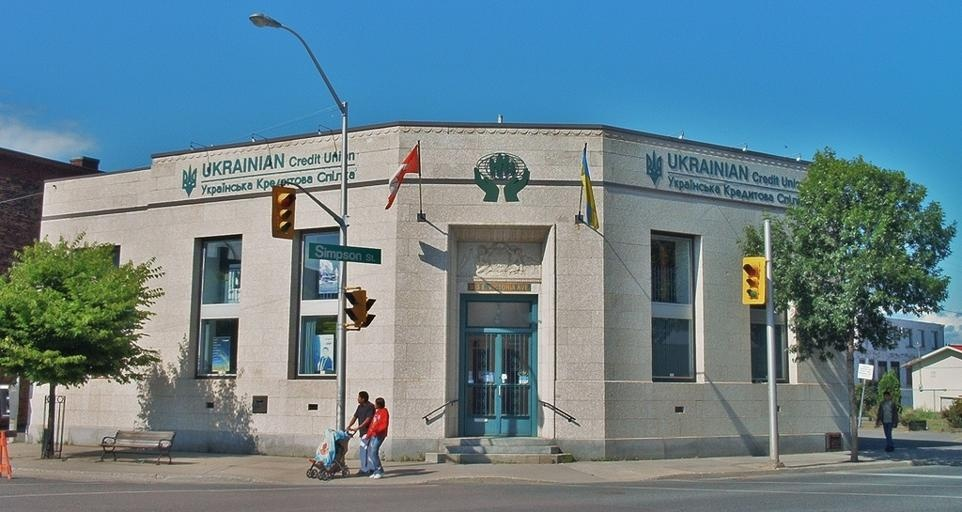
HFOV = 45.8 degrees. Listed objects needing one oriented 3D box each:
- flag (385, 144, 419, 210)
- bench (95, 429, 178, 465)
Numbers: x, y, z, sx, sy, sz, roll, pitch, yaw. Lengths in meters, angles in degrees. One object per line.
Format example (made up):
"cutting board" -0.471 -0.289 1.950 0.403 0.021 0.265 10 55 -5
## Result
"flag" -3.693 -4.054 54.353 1.549 3.245 1.807 1 -16 -5
"bench" -15.962 9.077 54.008 4.988 1.589 1.527 1 -12 10
